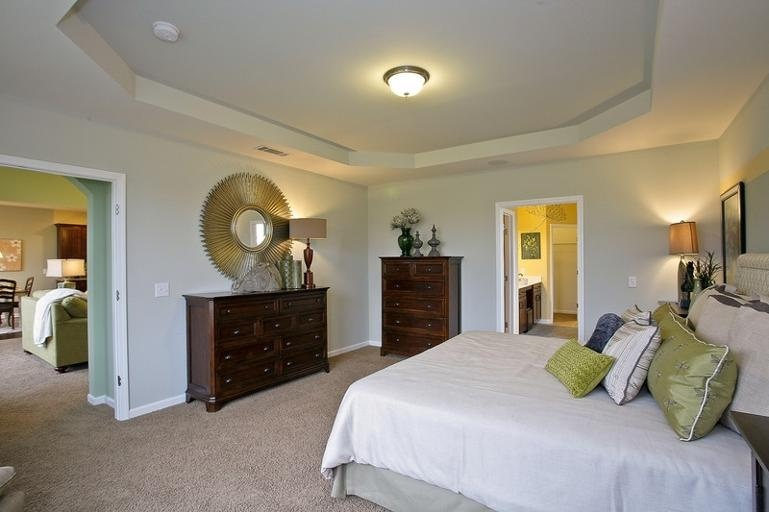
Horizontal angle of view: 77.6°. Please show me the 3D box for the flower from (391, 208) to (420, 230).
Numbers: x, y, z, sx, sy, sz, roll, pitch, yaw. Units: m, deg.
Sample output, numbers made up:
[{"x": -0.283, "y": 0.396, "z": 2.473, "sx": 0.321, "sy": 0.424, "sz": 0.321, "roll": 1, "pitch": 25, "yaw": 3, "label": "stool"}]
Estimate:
[{"x": 0.330, "y": -0.539, "z": 7.181, "sx": 0.349, "sy": 0.301, "sz": 0.349, "roll": -9, "pitch": 9, "yaw": 14, "label": "flower"}]

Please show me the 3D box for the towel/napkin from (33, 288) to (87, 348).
[{"x": -4.548, "y": 0.609, "z": 6.766, "sx": 0.664, "sy": 1.076, "sz": 1.146, "roll": 0, "pitch": 0, "yaw": -40, "label": "towel/napkin"}]

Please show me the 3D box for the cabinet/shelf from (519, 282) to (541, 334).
[{"x": 2.533, "y": 0.920, "z": 8.339, "sx": 0.171, "sy": 0.445, "sz": 0.872, "roll": -2, "pitch": -1, "yaw": 27, "label": "cabinet/shelf"}]

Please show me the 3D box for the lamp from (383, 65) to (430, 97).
[{"x": 0.204, "y": -1.596, "z": 4.489, "sx": 0.274, "sy": 0.132, "sz": 0.274, "roll": -1, "pitch": -7, "yaw": -2, "label": "lamp"}]

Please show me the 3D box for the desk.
[{"x": -1.468, "y": 1.004, "z": 5.851, "sx": 0.601, "sy": 1.294, "sz": 1.725, "roll": 4, "pitch": 5, "yaw": 41, "label": "desk"}]

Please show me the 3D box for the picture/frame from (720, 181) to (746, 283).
[{"x": 3.559, "y": -0.235, "z": 4.865, "sx": 0.053, "sy": 1.298, "sz": 1.131, "roll": 1, "pitch": 0, "yaw": 26, "label": "picture/frame"}]

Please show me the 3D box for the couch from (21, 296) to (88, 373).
[{"x": -4.382, "y": 1.113, "z": 6.740, "sx": 1.324, "sy": 0.989, "sz": 0.954, "roll": 1, "pitch": -1, "yaw": 40, "label": "couch"}]

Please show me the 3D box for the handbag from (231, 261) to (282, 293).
[{"x": -1.535, "y": 0.266, "z": 5.715, "sx": 0.534, "sy": 0.293, "sz": 0.285, "roll": 2, "pitch": -4, "yaw": -24, "label": "handbag"}]
